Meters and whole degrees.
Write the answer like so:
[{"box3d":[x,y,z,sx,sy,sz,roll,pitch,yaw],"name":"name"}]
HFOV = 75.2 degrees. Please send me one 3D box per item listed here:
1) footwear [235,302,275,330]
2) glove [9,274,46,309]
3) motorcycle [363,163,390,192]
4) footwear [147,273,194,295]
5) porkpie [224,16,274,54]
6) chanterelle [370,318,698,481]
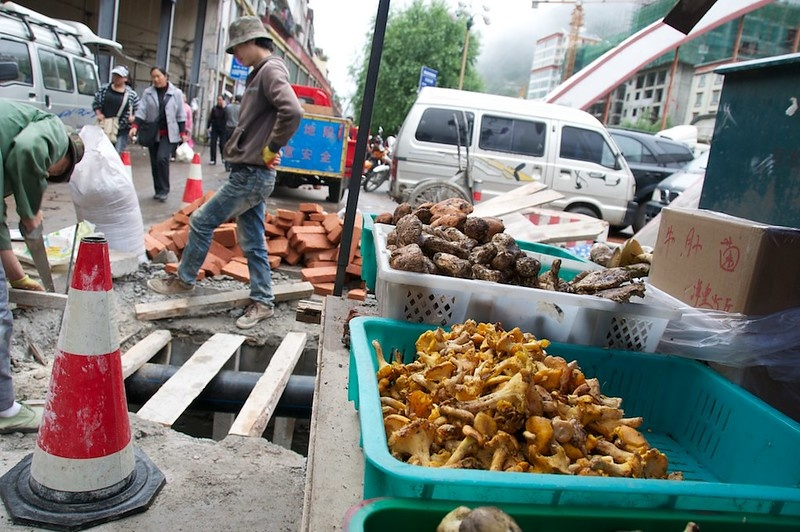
[{"box3d":[-1.386,0.474,4.977,0.158,0.184,0.430,34,27,19],"name":"footwear"},{"box3d":[-3.070,0.169,4.353,0.092,0.192,0.338,-21,4,4],"name":"glove"},{"box3d":[-0.787,-2.910,17.168,0.829,0.945,0.967,2,12,-5],"name":"motorcycle"},{"box3d":[-2.255,0.184,5.130,0.453,0.198,0.185,13,14,-30],"name":"footwear"},{"box3d":[-1.362,-2.092,4.657,0.358,0.315,0.377,-7,16,-40],"name":"porkpie"},{"box3d":[0.476,0.612,2.420,1.385,0.498,0.860,8,13,22],"name":"chanterelle"}]
